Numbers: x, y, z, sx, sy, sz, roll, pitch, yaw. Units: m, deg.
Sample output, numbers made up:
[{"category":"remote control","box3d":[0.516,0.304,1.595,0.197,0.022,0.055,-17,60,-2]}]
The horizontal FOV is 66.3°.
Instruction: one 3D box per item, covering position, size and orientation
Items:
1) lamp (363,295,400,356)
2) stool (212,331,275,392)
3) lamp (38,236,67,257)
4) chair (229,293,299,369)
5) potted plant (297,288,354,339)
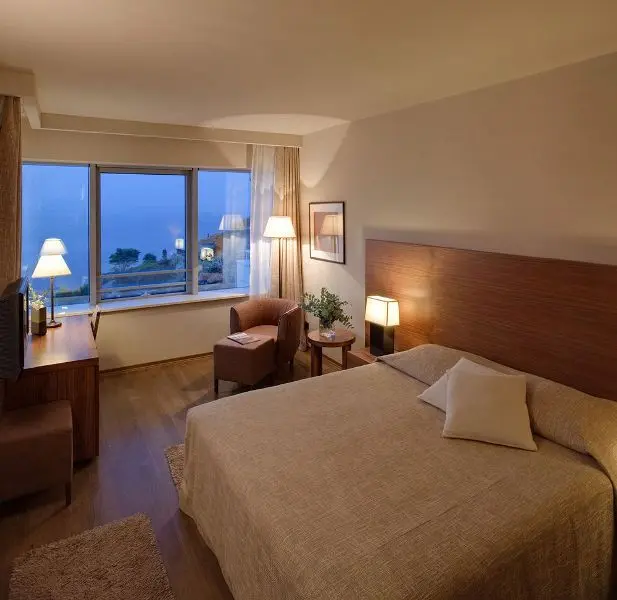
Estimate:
[{"category":"lamp","box3d":[0.646,0.242,4.252,0.166,0.551,0.285,-13,18,-42]},{"category":"stool","box3d":[-0.771,0.686,4.854,0.525,0.497,0.558,3,-4,23]},{"category":"lamp","box3d":[-2.470,-0.501,4.524,0.186,0.139,0.192,6,7,40]},{"category":"chair","box3d":[-0.454,0.410,5.379,0.699,0.832,0.618,3,8,18]},{"category":"potted plant","box3d":[0.209,0.136,4.683,0.331,0.348,0.370,8,15,17]}]
